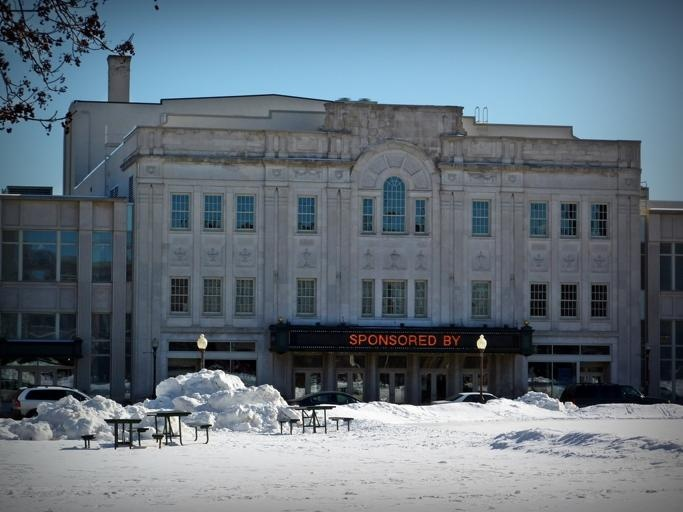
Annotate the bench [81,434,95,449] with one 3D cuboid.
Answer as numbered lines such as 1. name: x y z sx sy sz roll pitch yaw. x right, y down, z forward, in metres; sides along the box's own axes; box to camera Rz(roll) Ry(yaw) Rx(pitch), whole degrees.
1. bench: -10.313 7.594 64.485 0.519 0.525 0.515 1 1 -36

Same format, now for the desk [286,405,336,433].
1. desk: -1.320 7.189 70.679 1.390 1.022 1.387 1 -12 -9

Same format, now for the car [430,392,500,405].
1. car: 6.529 7.567 83.341 2.508 0.808 1.161 -2 0 -21

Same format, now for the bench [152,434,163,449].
1. bench: -7.518 7.569 64.490 0.565 0.580 0.488 -2 -9 14

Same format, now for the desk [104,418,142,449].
1. desk: -9.023 7.282 64.761 1.309 1.250 1.308 0 -8 -4

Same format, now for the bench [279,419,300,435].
1. bench: -2.340 7.545 68.671 0.705 0.967 0.859 -3 -5 2

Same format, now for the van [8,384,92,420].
1. van: -15.002 7.727 78.929 4.842 1.866 2.208 -1 -2 -21

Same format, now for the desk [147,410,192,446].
1. desk: -7.145 7.314 65.645 1.671 1.227 1.368 1 -3 -9

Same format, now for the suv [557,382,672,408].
1. suv: 14.024 7.478 84.954 4.715 1.334 2.492 -1 -8 7
